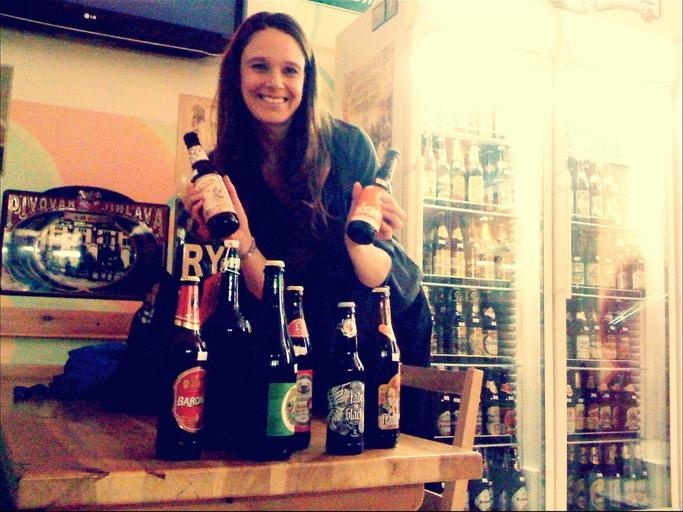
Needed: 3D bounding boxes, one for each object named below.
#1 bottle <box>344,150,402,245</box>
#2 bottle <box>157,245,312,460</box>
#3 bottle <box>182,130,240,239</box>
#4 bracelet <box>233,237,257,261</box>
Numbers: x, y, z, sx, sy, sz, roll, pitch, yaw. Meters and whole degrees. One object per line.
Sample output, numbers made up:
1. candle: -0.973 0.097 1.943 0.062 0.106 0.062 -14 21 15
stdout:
1. bottle: 0.102 -0.208 2.084 0.150 0.334 0.176 3 -5 3
2. bottle: -0.257 0.224 1.517 0.336 0.511 0.130 5 -5 -14
3. bottle: -0.432 -0.241 2.092 0.196 0.333 0.122 3 -5 5
4. bracelet: -0.346 -0.014 2.251 0.076 0.098 0.037 -4 -12 33
